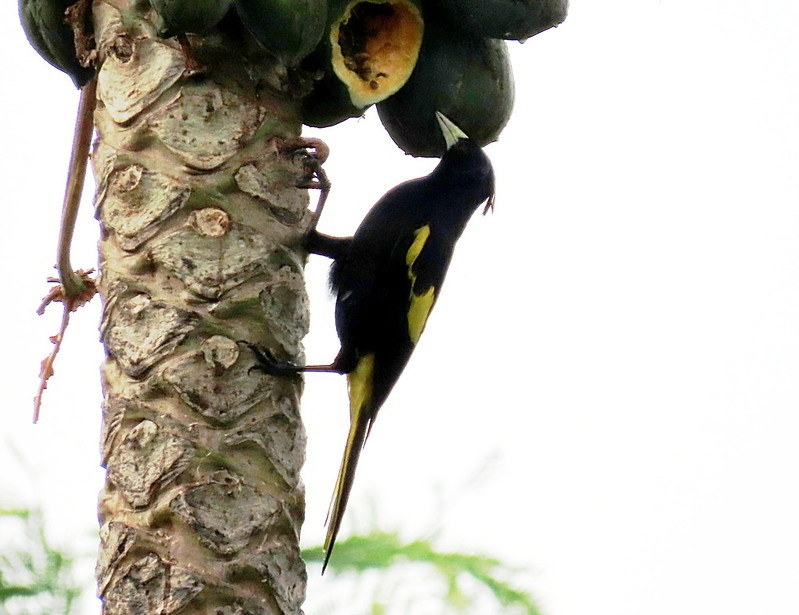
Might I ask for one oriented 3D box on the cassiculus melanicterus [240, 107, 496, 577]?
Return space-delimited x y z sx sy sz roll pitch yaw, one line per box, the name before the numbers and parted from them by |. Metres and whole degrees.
cassiculus melanicterus | 0.008 -0.106 4.604 0.399 0.720 0.566 -9 -55 17
